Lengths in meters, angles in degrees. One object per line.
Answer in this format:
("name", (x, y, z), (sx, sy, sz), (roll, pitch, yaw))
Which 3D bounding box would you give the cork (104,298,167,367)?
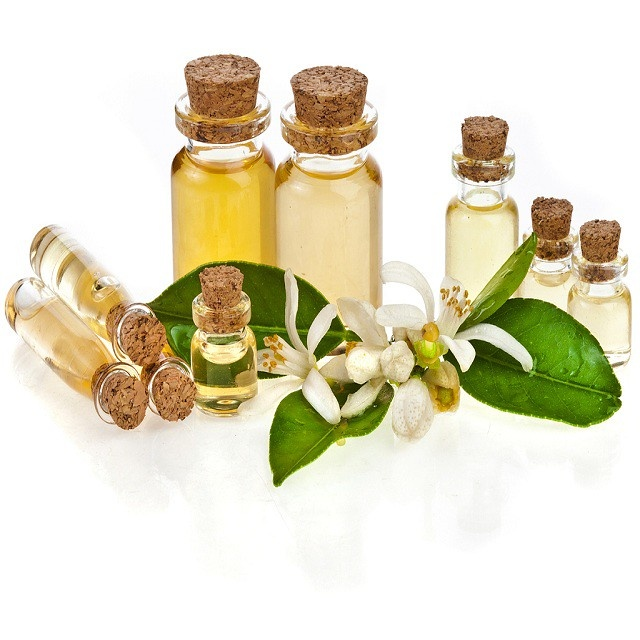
("cork", (-0.306, 0.010, 1.255), (0.100, 0.103, 0.110), (-5, 17, -22))

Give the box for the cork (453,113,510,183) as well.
("cork", (0.313, -0.329, 1.422), (0.102, 0.100, 0.105), (-15, 35, -17))

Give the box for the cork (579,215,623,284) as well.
("cork", (0.506, -0.123, 1.329), (0.084, 0.097, 0.087), (-2, 33, 3))

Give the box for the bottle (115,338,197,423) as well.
("bottle", (-0.309, 0.116, 1.236), (0.108, 0.110, 0.170), (-17, 20, -17))

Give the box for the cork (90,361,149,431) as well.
("cork", (-0.333, 0.128, 1.222), (0.108, 0.110, 0.104), (-4, 11, -20))

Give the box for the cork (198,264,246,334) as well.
("cork", (-0.140, -0.033, 1.197), (0.091, 0.103, 0.091), (-1, 33, -2))

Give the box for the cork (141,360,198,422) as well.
("cork", (-0.259, 0.116, 1.291), (0.092, 0.107, 0.100), (-2, 19, -24))

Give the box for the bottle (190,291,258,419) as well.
("bottle", (-0.158, 0.059, 1.211), (0.114, 0.199, 0.114), (2, 43, -2))
